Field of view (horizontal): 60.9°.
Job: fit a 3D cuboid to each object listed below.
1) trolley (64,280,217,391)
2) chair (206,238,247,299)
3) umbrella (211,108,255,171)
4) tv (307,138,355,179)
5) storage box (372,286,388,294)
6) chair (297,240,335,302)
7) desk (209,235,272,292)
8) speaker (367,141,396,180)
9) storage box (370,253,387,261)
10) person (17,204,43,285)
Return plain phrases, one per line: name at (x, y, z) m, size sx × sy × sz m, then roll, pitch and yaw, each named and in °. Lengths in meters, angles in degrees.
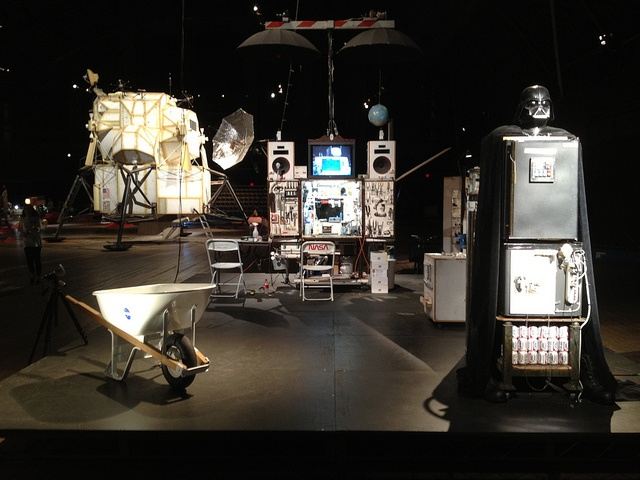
trolley at (-2.253, 1.134, 6.813) m, size 2.122 × 1.173 × 0.978 m, roll 5°, pitch 1°, yaw 36°
chair at (-1.717, 0.458, 9.948) m, size 0.628 × 1.096 × 0.779 m, roll 2°, pitch 10°, yaw 11°
umbrella at (-2.598, -2.973, 16.027) m, size 0.617 × 1.717 × 1.436 m, roll -10°, pitch 15°, yaw -41°
tv at (0.233, -1.526, 10.585) m, size 0.914 × 0.928 × 0.546 m, roll 0°, pitch -11°, yaw -2°
storage box at (1.115, 0.929, 10.212) m, size 0.305 × 0.149 × 0.140 m, roll 1°, pitch 11°, yaw 4°
chair at (-0.049, 0.477, 10.066) m, size 0.697 × 1.135 × 0.867 m, roll 5°, pitch 15°, yaw 14°
desk at (-1.784, 0.390, 11.500) m, size 1.049 × 1.085 × 1.626 m, roll 1°, pitch 8°, yaw 6°
speaker at (1.169, -1.568, 10.786) m, size 0.634 × 0.983 × 0.657 m, roll 0°, pitch 2°, yaw -1°
storage box at (1.095, 0.321, 10.225) m, size 0.309 × 0.171 × 0.149 m, roll -1°, pitch 11°, yaw -6°
person at (-5.514, 0.068, 10.462) m, size 0.356 × 1.532 × 0.742 m, roll -6°, pitch 12°, yaw -28°
